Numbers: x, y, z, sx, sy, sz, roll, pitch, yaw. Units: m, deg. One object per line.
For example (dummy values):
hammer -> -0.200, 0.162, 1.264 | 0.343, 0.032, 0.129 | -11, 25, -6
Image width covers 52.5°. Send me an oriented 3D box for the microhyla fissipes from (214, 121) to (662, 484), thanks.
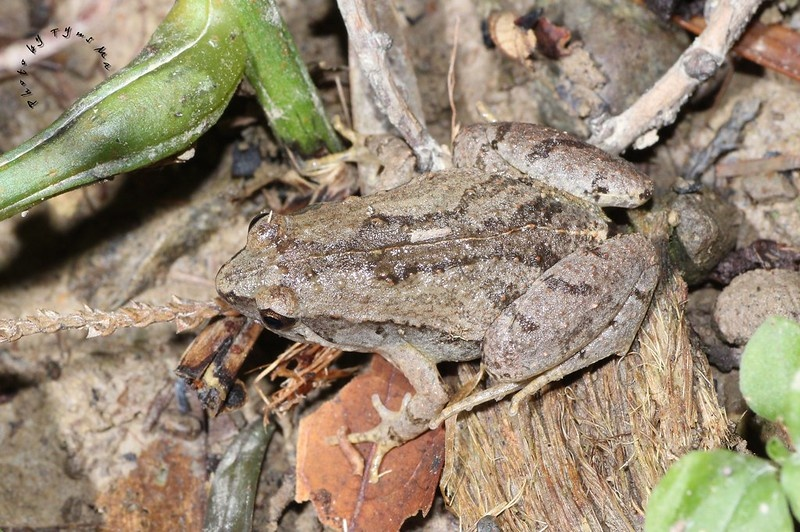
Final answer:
microhyla fissipes -> 0.474, 0.169, 5.957 | 2.910, 1.086, 1.811 | -19, 67, -7
